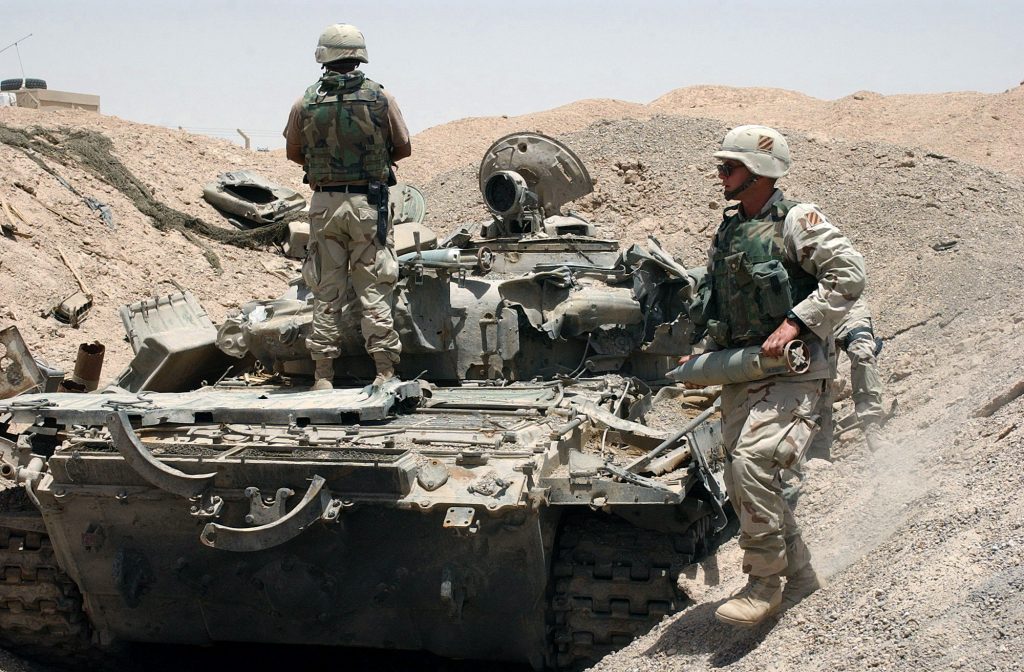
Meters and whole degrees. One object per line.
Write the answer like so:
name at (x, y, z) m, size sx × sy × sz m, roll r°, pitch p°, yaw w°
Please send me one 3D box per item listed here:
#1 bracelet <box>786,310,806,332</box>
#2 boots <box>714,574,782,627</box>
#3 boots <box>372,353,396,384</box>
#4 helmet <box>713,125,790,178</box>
bracelet at (2.299, -0.116, 10.502) m, size 0.153 × 0.169 × 0.058 m, roll 3°, pitch 20°, yaw 13°
boots at (1.983, 2.101, 10.756) m, size 0.656 × 0.443 × 0.277 m, roll -9°, pitch 17°, yaw -35°
boots at (-1.240, 0.322, 12.947) m, size 0.281 × 0.327 × 0.316 m, roll -3°, pitch -7°, yaw 0°
helmet at (2.007, -1.530, 10.948) m, size 0.598 × 0.353 × 0.421 m, roll -1°, pitch 8°, yaw -1°
